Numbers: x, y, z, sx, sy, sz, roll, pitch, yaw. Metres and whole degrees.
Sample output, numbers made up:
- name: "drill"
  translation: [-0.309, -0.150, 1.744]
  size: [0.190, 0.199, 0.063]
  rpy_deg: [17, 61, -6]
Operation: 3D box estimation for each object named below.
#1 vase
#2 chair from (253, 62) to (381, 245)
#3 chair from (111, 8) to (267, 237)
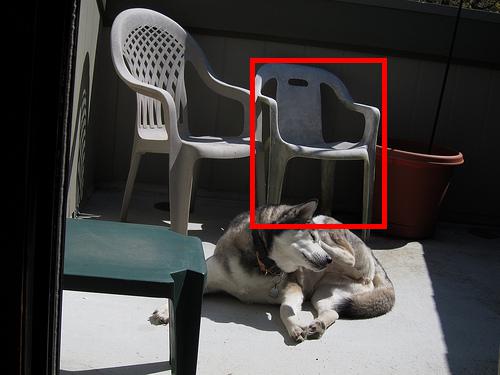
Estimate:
- name: "vase"
  translation: [1.254, -0.033, 3.191]
  size: [0.639, 0.688, 0.699]
  rpy_deg: [8, 14, -4]
- name: "chair"
  translation: [0.443, -0.280, 2.860]
  size: [0.930, 1.386, 0.958]
  rpy_deg: [-5, 9, -39]
- name: "chair"
  translation: [-0.426, -0.509, 2.614]
  size: [0.886, 1.523, 0.994]
  rpy_deg: [0, 6, 13]
